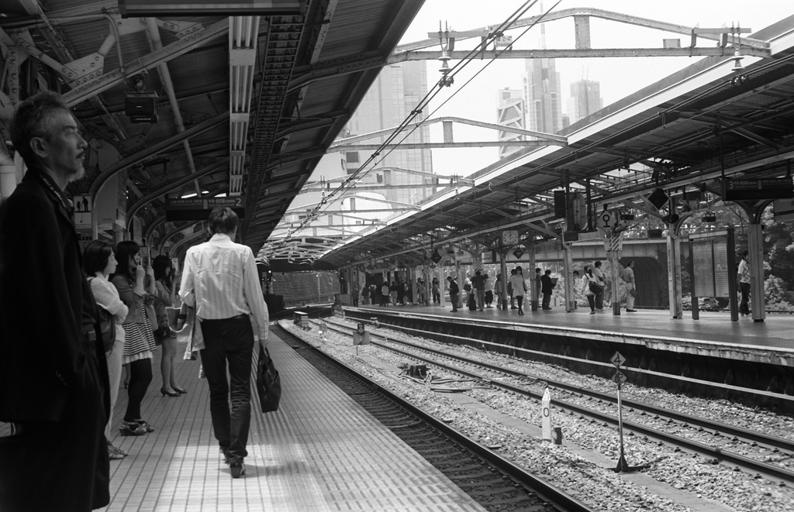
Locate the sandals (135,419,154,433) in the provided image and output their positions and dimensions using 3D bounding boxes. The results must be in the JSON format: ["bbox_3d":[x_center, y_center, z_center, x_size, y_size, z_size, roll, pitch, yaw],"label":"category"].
[{"bbox_3d":[-3.650,2.489,9.646,0.144,0.165,0.392,2,-10,-20],"label":"sandals"}]

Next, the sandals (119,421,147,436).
[{"bbox_3d":[-3.743,2.468,9.418,0.379,0.137,0.159,-1,1,-26],"label":"sandals"}]

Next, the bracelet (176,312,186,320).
[{"bbox_3d":[-2.407,0.689,7.444,0.076,0.055,0.075,1,-5,-11],"label":"bracelet"}]

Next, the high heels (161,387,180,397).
[{"bbox_3d":[-4.270,2.583,12.458,0.397,0.187,0.134,-5,-3,4],"label":"high heels"}]

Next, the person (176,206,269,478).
[{"bbox_3d":[-1.913,0.859,7.363,0.933,2.749,0.432,-1,-2,-6],"label":"person"}]
